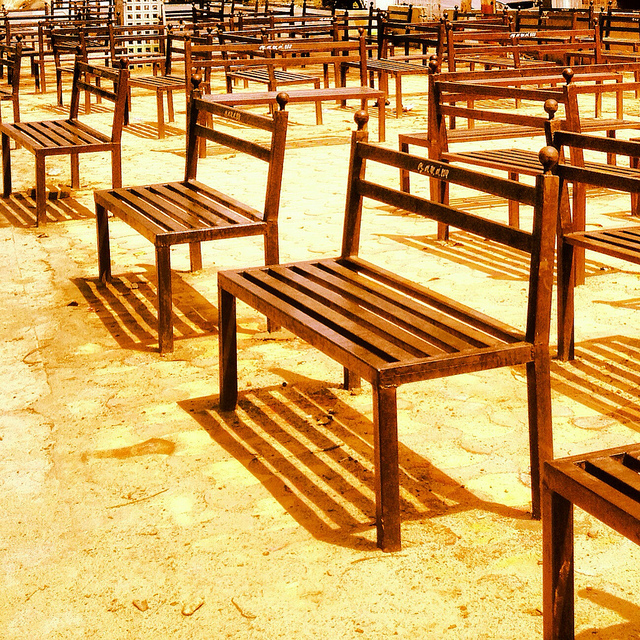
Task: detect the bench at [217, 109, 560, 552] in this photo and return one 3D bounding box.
[{"bbox_3d":[0.180,-0.099,2.710,0.692,1.140,1.443,-16,22,-18],"label":"bench"}]

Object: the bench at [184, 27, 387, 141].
[{"bbox_3d":[-0.939,-3.586,10.643,3.000,1.408,1.123,-18,26,-36],"label":"bench"}]

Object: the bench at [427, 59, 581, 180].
[{"bbox_3d":[1.275,-1.526,4.930,0.342,0.552,1.024,-25,30,-36],"label":"bench"}]
